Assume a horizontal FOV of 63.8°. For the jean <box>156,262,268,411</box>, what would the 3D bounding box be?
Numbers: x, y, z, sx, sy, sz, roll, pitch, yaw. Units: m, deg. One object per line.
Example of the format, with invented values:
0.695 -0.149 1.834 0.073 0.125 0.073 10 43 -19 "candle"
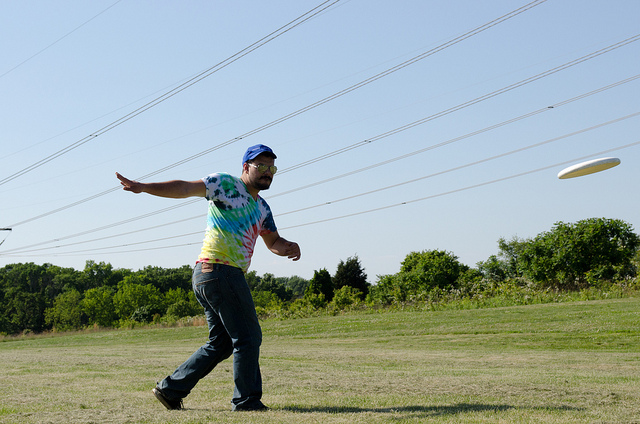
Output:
-1.405 1.715 7.143 1.213 1.979 0.886 -15 -19 35 "jean"
